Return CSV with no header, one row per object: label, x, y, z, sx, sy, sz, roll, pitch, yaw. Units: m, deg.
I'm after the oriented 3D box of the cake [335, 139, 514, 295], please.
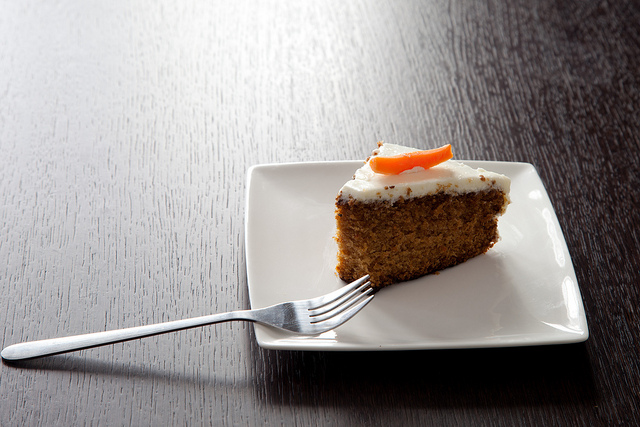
cake,0.315,-0.002,1.753,0.441,0.385,0.503,-21,27,-32
